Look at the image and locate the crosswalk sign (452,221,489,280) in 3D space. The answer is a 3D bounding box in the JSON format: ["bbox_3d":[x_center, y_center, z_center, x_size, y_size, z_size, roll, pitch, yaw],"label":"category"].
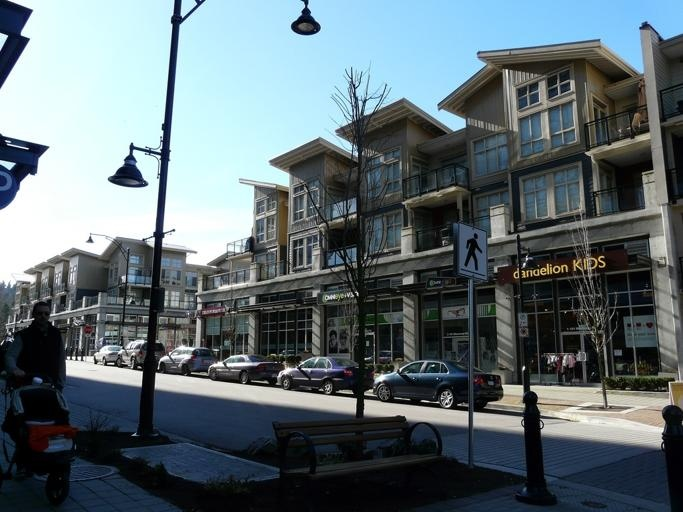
[{"bbox_3d":[2.125,-0.063,9.309,0.265,0.927,0.867,-12,-16,42],"label":"crosswalk sign"}]

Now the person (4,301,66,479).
[{"bbox_3d":[-4.337,1.859,8.156,0.964,2.464,1.040,4,-6,-38],"label":"person"}]
